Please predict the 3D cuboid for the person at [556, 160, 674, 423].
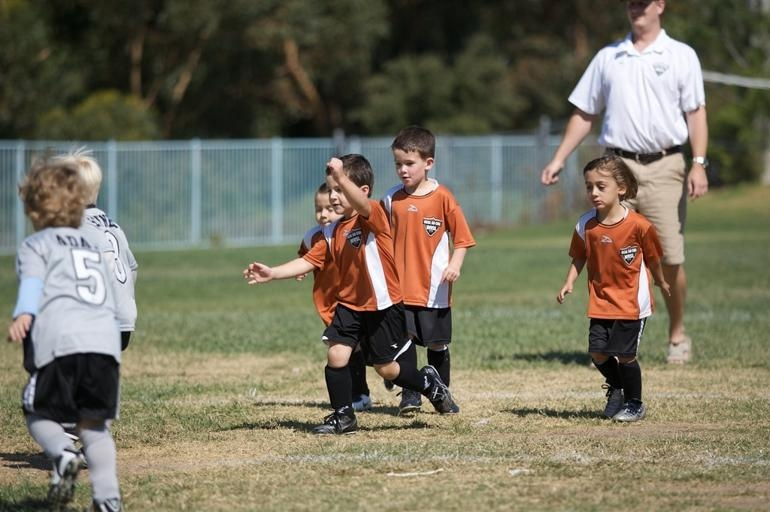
[{"bbox_3d":[2.549,0.340,14.420,0.956,2.774,0.832,8,17,31],"label":"person"}]
